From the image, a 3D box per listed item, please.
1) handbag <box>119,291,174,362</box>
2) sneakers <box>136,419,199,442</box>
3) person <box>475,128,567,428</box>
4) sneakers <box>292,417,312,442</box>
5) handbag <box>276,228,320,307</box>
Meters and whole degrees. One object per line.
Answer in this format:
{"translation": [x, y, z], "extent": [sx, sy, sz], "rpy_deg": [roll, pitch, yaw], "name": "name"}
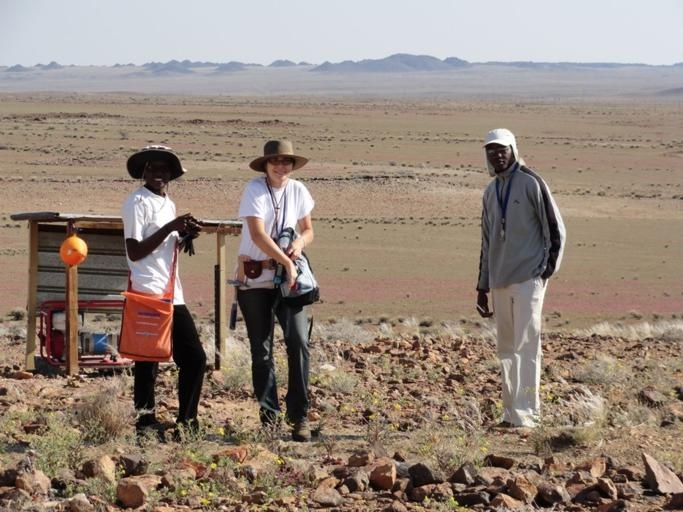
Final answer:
{"translation": [-1.678, 0.596, 8.756], "extent": [0.578, 0.676, 0.311], "rpy_deg": [5, -1, -4], "name": "handbag"}
{"translation": [-1.547, 1.531, 8.926], "extent": [0.303, 0.137, 0.295], "rpy_deg": [5, -4, -43], "name": "sneakers"}
{"translation": [1.649, 0.197, 9.599], "extent": [0.812, 2.801, 0.528], "rpy_deg": [8, 11, 36], "name": "person"}
{"translation": [-0.363, 1.570, 9.190], "extent": [0.179, 0.208, 0.127], "rpy_deg": [1, 9, -4], "name": "sneakers"}
{"translation": [-0.481, 0.111, 9.275], "extent": [0.428, 0.685, 0.258], "rpy_deg": [-17, 2, -24], "name": "handbag"}
